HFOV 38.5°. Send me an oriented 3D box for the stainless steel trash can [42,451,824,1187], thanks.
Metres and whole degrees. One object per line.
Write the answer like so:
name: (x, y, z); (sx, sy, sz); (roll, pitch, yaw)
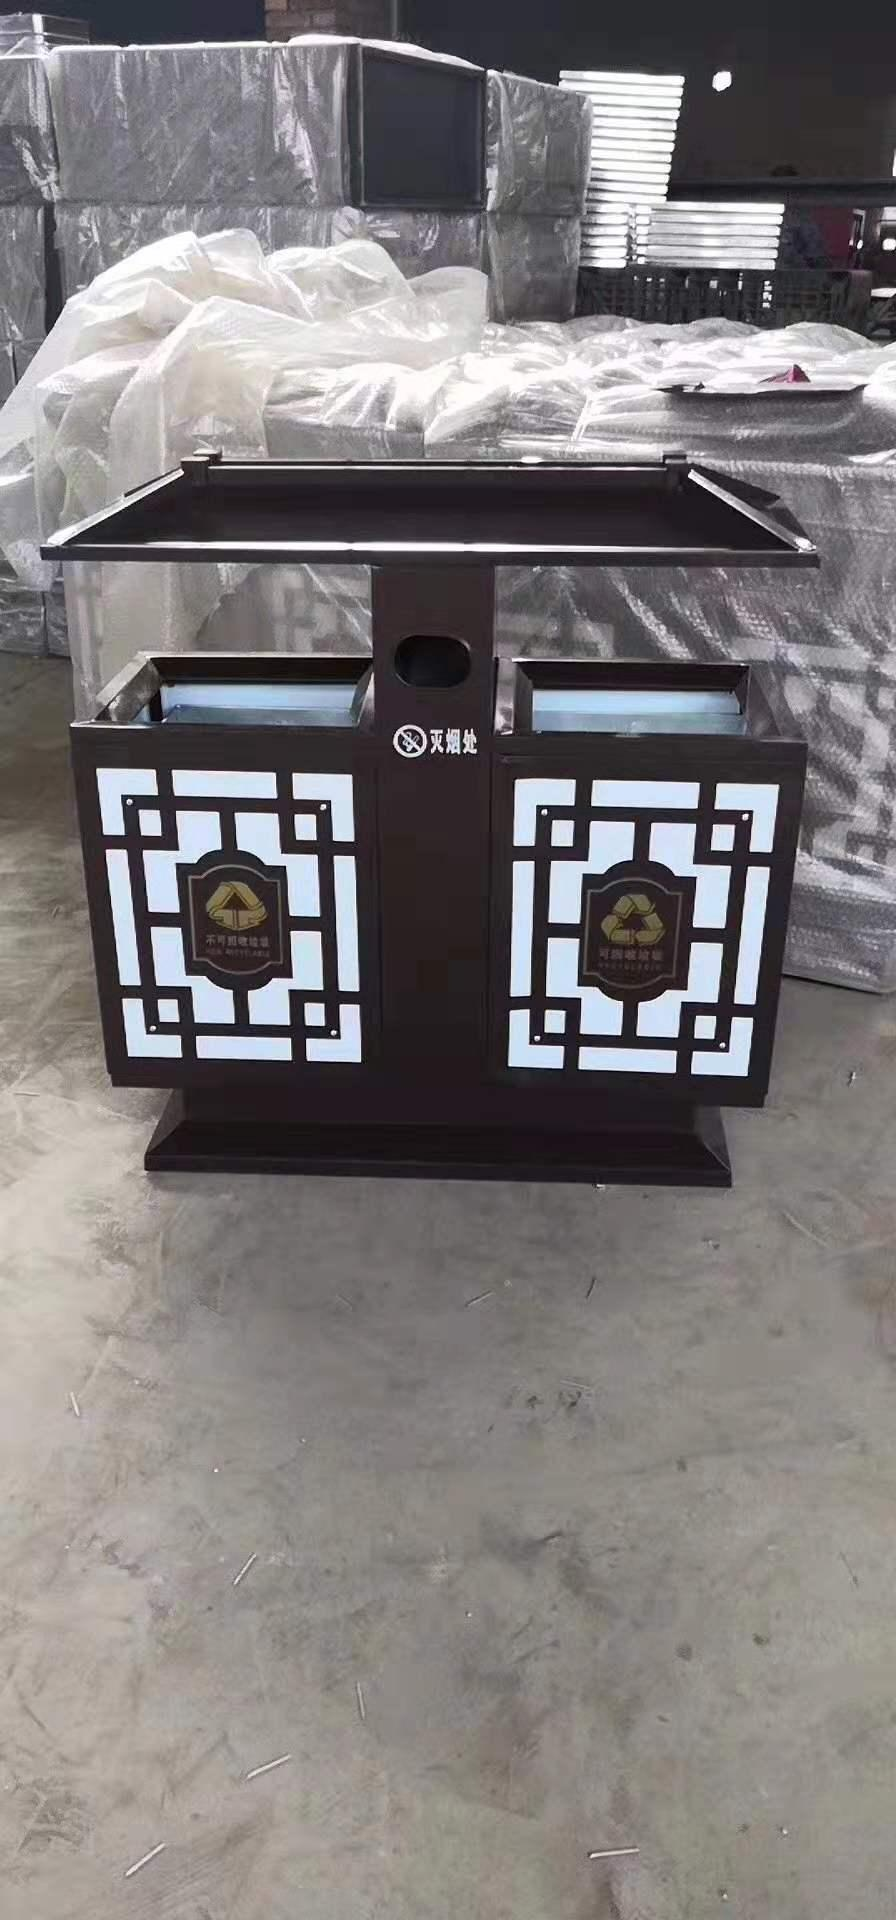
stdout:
stainless steel trash can: (0.025, -0.157, 1.730); (0.841, 1.056, 0.548); (1, 29, 1)
